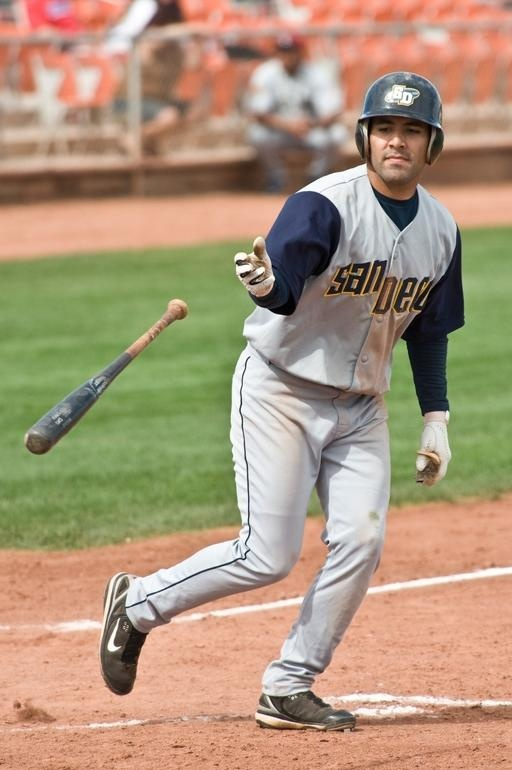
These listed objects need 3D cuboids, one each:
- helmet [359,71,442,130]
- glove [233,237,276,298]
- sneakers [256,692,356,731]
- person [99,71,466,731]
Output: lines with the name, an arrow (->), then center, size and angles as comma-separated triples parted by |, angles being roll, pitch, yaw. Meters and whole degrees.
helmet -> 0.375, -0.742, 2.499 | 0.212, 0.159, 0.222 | 0, 11, 4
glove -> 0.000, -0.265, 2.201 | 0.086, 0.136, 0.147 | -1, 12, 0
sneakers -> 0.133, 0.897, 2.672 | 0.286, 0.101, 0.098 | 0, -7, 7
person -> 0.132, 0.072, 2.715 | 0.638, 1.823, 0.970 | 12, 18, 44
